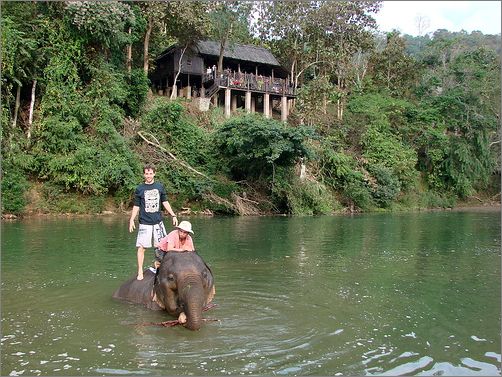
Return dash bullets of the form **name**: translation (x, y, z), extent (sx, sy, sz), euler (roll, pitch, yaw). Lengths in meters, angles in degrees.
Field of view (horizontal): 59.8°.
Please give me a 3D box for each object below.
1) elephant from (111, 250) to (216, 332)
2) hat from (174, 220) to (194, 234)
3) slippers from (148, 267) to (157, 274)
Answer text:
- **elephant**: translation (-1.847, 1.916, 9.368), extent (3.058, 1.348, 0.965), euler (4, 5, 42)
- **hat**: translation (-1.374, 0.817, 9.347), extent (0.280, 0.144, 0.343), euler (22, -11, 9)
- **slippers**: translation (-2.232, 1.828, 9.902), extent (0.146, 0.067, 0.171), euler (37, -5, 25)
